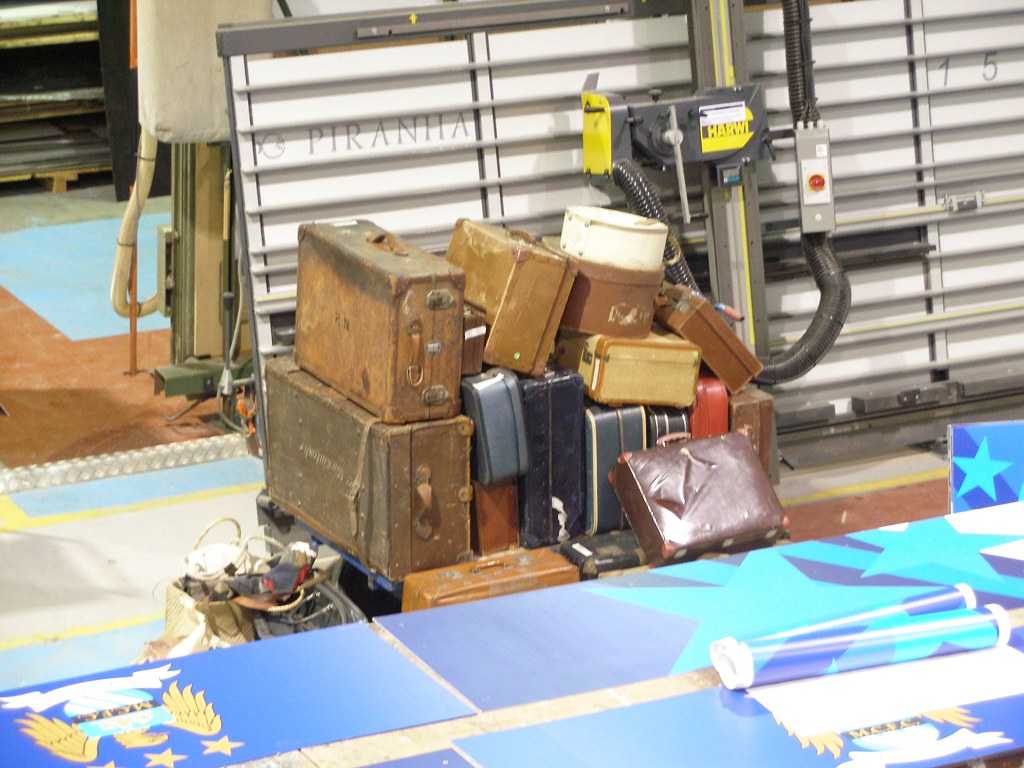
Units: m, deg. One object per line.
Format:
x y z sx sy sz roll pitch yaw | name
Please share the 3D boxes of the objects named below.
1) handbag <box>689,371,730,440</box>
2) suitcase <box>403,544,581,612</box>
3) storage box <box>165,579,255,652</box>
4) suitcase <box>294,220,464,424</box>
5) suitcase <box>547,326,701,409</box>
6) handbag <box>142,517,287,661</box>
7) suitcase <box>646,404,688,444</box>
1.192 0.146 7.824 0.157 0.301 0.303 -2 18 -5 | handbag
-0.100 1.014 6.829 0.823 0.305 0.733 -4 2 -33 | suitcase
-1.666 1.224 6.925 0.428 0.420 0.310 -1 0 44 | storage box
-0.753 -0.301 7.104 0.337 0.710 0.921 -6 24 -32 | suitcase
0.714 -0.108 7.629 0.628 0.358 0.464 0 17 -26 | suitcase
-1.629 1.208 7.040 0.548 0.350 0.937 7 21 27 | handbag
0.914 0.226 7.654 0.193 0.283 0.279 3 6 15 | suitcase
